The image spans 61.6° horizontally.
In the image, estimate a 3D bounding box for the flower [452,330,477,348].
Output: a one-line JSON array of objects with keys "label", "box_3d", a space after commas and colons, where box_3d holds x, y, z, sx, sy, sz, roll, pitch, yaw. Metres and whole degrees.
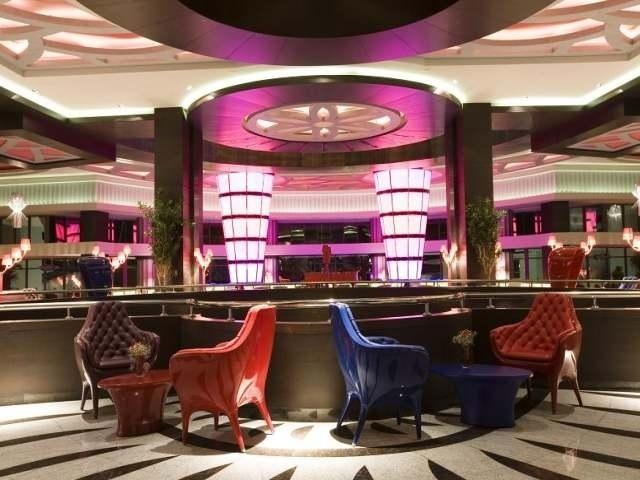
[{"label": "flower", "box_3d": [2.034, 1.364, 7.554, 0.354, 0.232, 0.353, 0, -5, 3]}]

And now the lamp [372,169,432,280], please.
[{"label": "lamp", "box_3d": [2.765, -0.508, 17.807, 1.678, 3.695, 0.872, 0, 11, 10]}]

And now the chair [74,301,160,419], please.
[{"label": "chair", "box_3d": [-3.000, 1.767, 7.872, 1.105, 1.452, 1.078, 2, -5, -28]}]

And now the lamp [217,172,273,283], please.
[{"label": "lamp", "box_3d": [-2.443, -0.418, 17.996, 1.637, 3.655, 0.746, -4, 11, -9]}]

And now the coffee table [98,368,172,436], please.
[{"label": "coffee table", "box_3d": [-2.373, 2.041, 6.955, 0.823, 0.589, 0.766, 4, -9, -37]}]

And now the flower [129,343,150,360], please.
[{"label": "flower", "box_3d": [-2.379, 1.475, 7.048, 0.231, 0.209, 0.240, -8, 12, -28]}]

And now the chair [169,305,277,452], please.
[{"label": "chair", "box_3d": [-1.201, 1.817, 7.309, 1.454, 2.189, 1.677, -3, -14, 17]}]
